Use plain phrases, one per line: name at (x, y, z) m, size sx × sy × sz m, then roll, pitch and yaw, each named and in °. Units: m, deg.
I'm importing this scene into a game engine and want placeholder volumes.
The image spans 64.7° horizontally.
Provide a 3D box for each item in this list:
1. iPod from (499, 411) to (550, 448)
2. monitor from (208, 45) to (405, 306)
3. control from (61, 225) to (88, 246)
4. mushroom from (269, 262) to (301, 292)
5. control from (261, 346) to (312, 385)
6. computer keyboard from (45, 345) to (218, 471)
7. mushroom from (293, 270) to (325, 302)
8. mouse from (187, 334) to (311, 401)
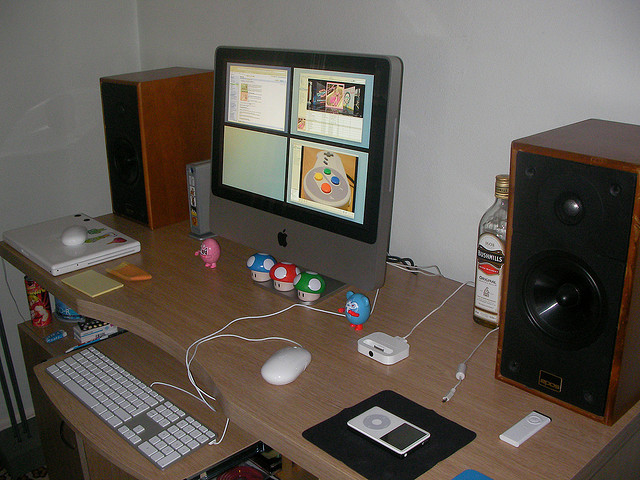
iPod at (0.381, 0.347, 0.938) m, size 0.097 × 0.014 × 0.047 m, roll -22°, pitch 8°, yaw -27°
monitor at (-0.066, -0.197, 1.383) m, size 0.581 × 0.622 × 0.167 m, roll 17°, pitch 24°, yaw 34°
control at (-0.768, -0.020, 1.587) m, size 0.055 × 0.040 × 0.068 m, roll 14°, pitch 34°, yaw 12°
mushroom at (-0.099, 0.102, 1.408) m, size 0.071 × 0.063 × 0.075 m, roll 19°, pitch 30°, yaw 3°
control at (-0.074, 0.263, 1.080) m, size 0.071 × 0.039 × 0.107 m, roll 20°, pitch 31°, yaw 32°
computer keyboard at (-0.477, 0.381, 1.208) m, size 0.464 × 0.019 × 0.151 m, roll 23°, pitch 20°, yaw 30°
mushroom at (-0.036, 0.131, 1.357) m, size 0.070 × 0.062 × 0.073 m, roll 5°, pitch 26°, yaw -24°
mouse at (-0.104, 0.263, 1.062) m, size 0.154 × 0.034 × 0.142 m, roll -5°, pitch 31°, yaw -24°
